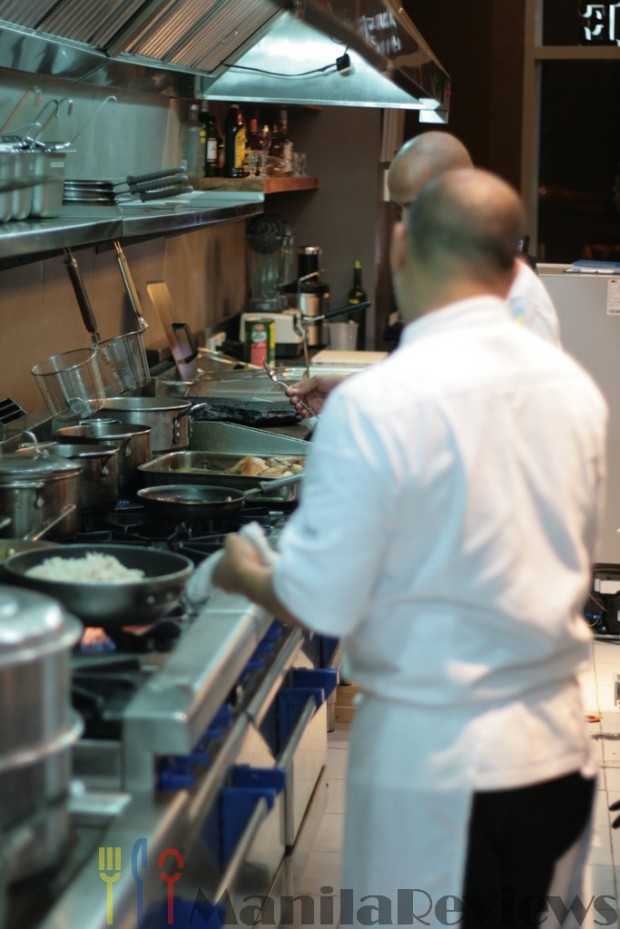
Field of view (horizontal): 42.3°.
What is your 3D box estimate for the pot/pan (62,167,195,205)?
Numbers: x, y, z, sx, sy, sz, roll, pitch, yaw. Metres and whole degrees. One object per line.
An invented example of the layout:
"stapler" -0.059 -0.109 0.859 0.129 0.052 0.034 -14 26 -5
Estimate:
"pot/pan" -0.502 -0.779 2.249 0.354 0.074 0.222 -14 11 -9
